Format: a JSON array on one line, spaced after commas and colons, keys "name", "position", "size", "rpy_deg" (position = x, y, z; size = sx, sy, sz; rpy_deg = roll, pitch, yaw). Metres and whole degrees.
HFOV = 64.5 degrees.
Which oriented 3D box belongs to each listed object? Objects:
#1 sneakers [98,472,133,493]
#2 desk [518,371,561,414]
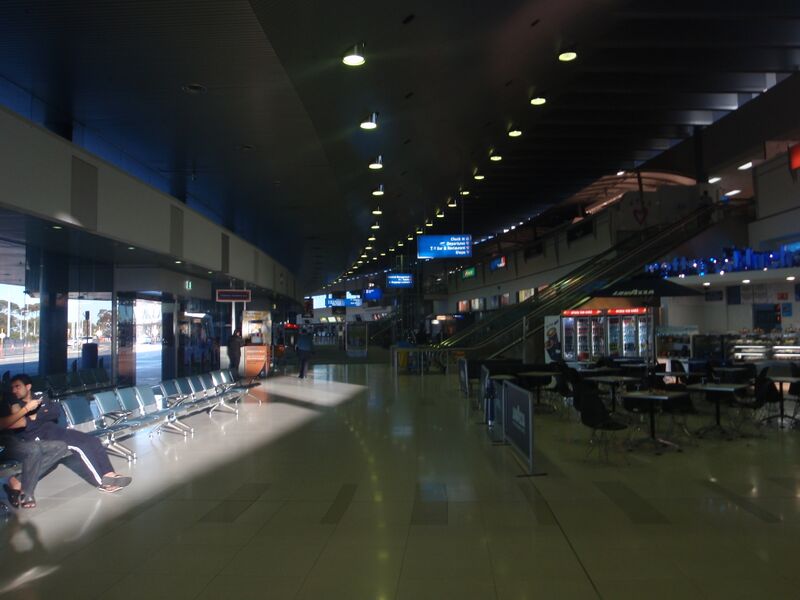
[{"name": "sneakers", "position": [-3.628, 2.329, 8.049], "size": [0.343, 0.165, 0.166], "rpy_deg": [0, -4, -12]}, {"name": "desk", "position": [2.995, 1.936, 13.429], "size": [0.863, 0.893, 0.904], "rpy_deg": [-1, -7, 2]}]
